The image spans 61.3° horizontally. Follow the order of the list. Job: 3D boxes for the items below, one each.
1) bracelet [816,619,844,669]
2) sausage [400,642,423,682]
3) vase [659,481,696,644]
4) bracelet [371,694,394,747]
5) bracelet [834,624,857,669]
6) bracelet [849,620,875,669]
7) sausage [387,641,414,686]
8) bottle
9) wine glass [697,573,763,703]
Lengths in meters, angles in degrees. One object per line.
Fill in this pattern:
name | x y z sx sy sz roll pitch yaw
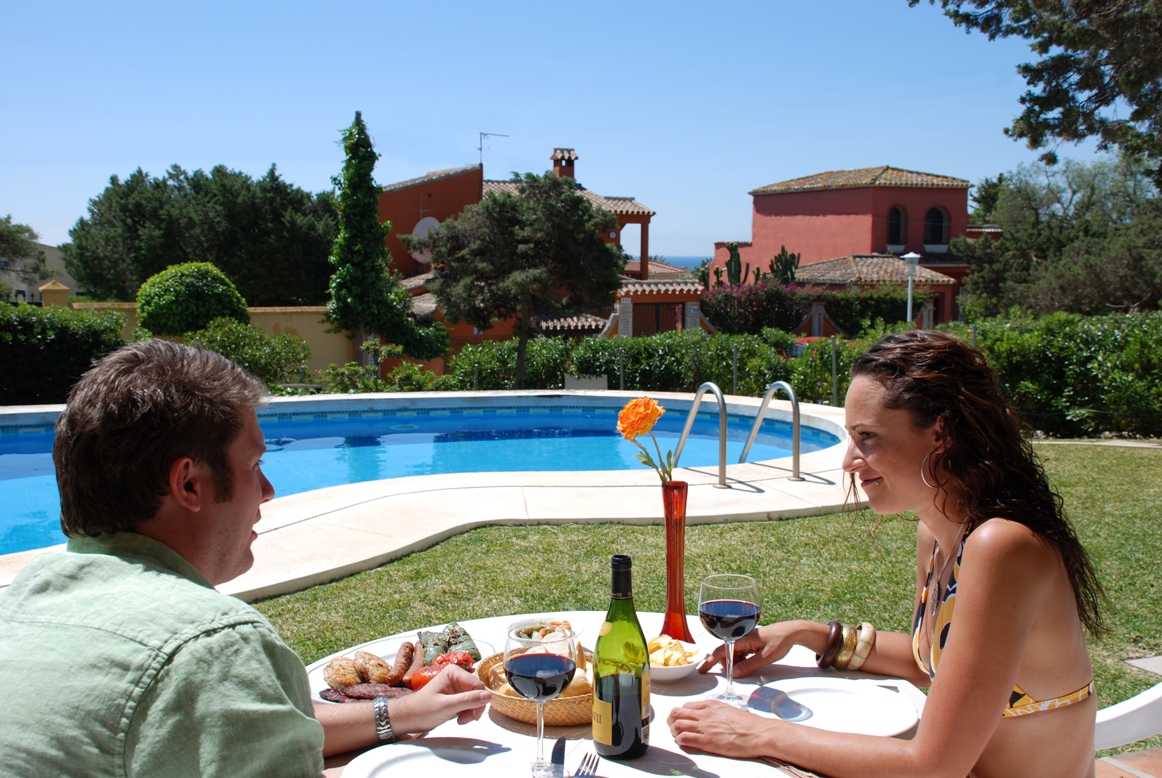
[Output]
bracelet | 0.913 0.930 3.568 0.043 0.136 0.132 13 4 1
sausage | -0.579 0.934 3.377 0.039 0.043 0.153 25 26 -10
vase | 0.358 0.645 3.711 0.141 0.532 0.178 0 1 2
bracelet | -0.634 1.063 3.141 0.069 0.121 0.121 -4 2 -1
bracelet | 0.970 0.942 3.576 0.042 0.133 0.100 5 4 11
bracelet | 1.035 0.931 3.575 0.048 0.151 0.117 5 5 22
sausage | -0.615 0.943 3.357 0.041 0.047 0.162 6 23 5
bottle | 0.133 0.827 3.120 0.189 0.635 0.220 0 5 3
wine glass | 0.503 0.834 3.410 0.175 0.456 0.352 1 0 3
